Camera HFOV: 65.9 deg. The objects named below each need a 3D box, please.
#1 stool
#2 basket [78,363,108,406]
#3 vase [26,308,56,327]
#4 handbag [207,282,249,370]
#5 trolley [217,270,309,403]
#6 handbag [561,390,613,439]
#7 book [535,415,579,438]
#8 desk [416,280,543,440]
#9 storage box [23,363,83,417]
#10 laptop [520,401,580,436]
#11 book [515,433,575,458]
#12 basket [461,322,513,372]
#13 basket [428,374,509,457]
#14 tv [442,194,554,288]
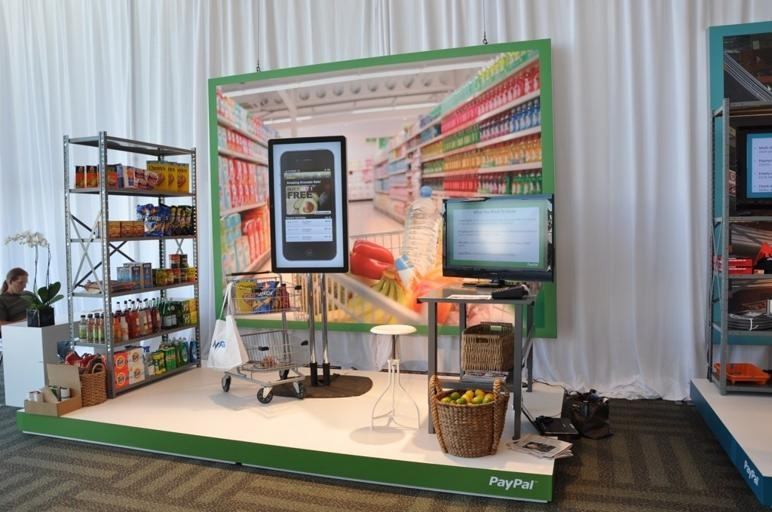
[{"bbox_3d":[0.076,1.207,5.761,0.462,0.848,0.426,3,-17,-5],"label":"stool"},{"bbox_3d":[-2.865,1.267,5.878,0.319,0.482,0.364,1,-3,-18],"label":"basket"},{"bbox_3d":[-3.552,0.635,6.154,0.214,0.207,0.213,-2,-6,15],"label":"vase"},{"bbox_3d":[-1.552,0.724,5.927,0.395,0.773,0.313,-1,1,29],"label":"handbag"},{"bbox_3d":[-1.265,0.842,6.212,0.693,1.244,0.886,-2,3,-28],"label":"trolley"},{"bbox_3d":[1.901,1.540,5.675,0.444,0.398,0.548,4,-2,32],"label":"handbag"},{"bbox_3d":[1.491,1.538,5.346,0.242,0.050,0.243,1,5,2],"label":"book"},{"bbox_3d":[0.966,0.803,5.606,1.149,1.362,1.467,0,2,14],"label":"desk"},{"bbox_3d":[-3.191,1.282,5.692,0.403,0.395,0.286,1,8,18],"label":"storage box"},{"bbox_3d":[1.486,1.478,5.363,0.229,0.157,0.249,-8,10,6],"label":"laptop"},{"bbox_3d":[1.299,1.602,4.990,0.449,0.090,0.284,-2,1,27],"label":"book"},{"bbox_3d":[0.896,0.805,5.249,0.389,0.281,0.393,0,0,12],"label":"basket"},{"bbox_3d":[0.693,1.338,5.056,0.659,0.587,0.611,-3,-4,14],"label":"basket"},{"bbox_3d":[0.952,-0.150,5.357,1.018,0.751,0.067,2,7,30],"label":"tv"}]
